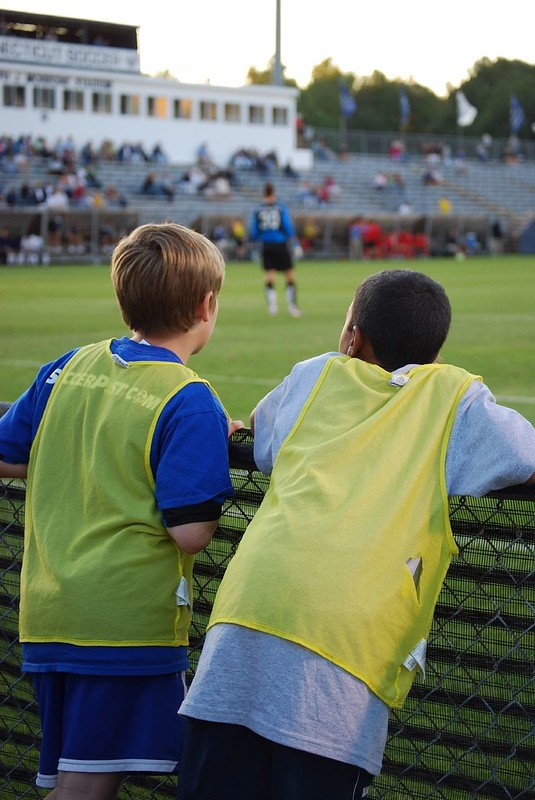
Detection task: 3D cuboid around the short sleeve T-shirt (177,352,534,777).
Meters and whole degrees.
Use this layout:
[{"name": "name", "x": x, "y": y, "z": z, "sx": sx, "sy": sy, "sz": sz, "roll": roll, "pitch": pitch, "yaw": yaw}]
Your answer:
[{"name": "short sleeve T-shirt", "x": 0.190, "y": 0.260, "z": 1.770, "sx": 0.566, "sy": 0.650, "sz": 0.245, "roll": 7, "pitch": -24, "yaw": 25}]
